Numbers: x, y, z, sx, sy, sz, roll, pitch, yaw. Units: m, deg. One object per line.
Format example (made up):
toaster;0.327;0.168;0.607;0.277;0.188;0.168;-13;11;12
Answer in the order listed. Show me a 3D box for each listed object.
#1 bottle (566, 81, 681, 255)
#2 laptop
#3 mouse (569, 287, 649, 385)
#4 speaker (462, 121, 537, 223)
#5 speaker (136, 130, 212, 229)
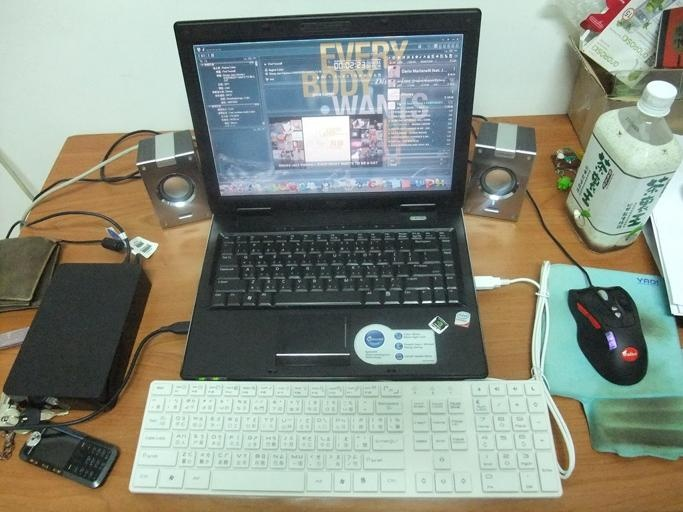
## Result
bottle;0.509;-0.144;1.030;0.133;0.235;0.159;-5;51;0
laptop;-0.003;-0.057;1.133;0.610;0.437;0.590;-1;67;3
mouse;0.453;0.130;0.968;0.103;0.054;0.161;-3;64;1
speaker;0.313;-0.166;1.131;0.129;0.157;0.128;17;40;19
speaker;-0.334;-0.153;1.143;0.116;0.166;0.105;-20;45;-15
